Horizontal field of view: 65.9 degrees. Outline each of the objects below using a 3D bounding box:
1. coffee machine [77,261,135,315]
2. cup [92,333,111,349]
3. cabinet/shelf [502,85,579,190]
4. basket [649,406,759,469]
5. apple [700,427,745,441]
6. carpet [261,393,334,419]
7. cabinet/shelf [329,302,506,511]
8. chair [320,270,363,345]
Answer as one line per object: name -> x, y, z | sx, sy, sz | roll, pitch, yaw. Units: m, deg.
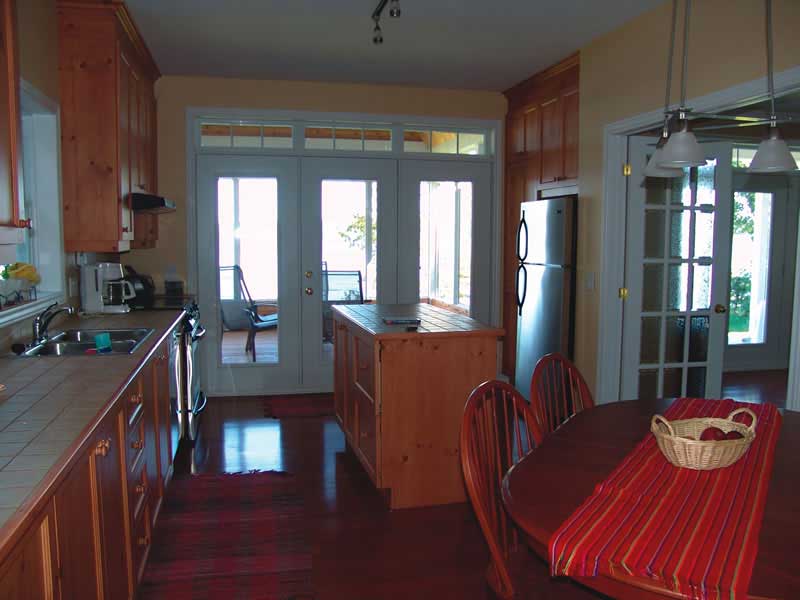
coffee machine -> -1.973, -0.079, 4.183 | 0.340, 0.360, 0.265 | -2, 8, -21
cup -> -1.608, 0.206, 3.299 | 0.090, 0.109, 0.093 | 1, 3, 0
cabinet/shelf -> 1.252, -1.431, 5.391 | 0.318, 0.980, 1.003 | -1, 7, -12
basket -> 1.082, 0.502, 2.255 | 0.272, 0.149, 0.284 | -5, 8, 0
apple -> 1.134, 0.472, 2.159 | 0.102, 0.051, 0.060 | -3, 16, -8
carpet -> -0.911, 0.936, 5.495 | 0.617, 0.026, 0.682 | -1, 10, -10
cabinet/shelf -> 0.059, 0.628, 4.023 | 0.914, 1.192, 1.761 | 0, 3, -9
chair -> -0.564, -0.034, 6.266 | 0.587, 0.992, 0.479 | -1, 4, -7
